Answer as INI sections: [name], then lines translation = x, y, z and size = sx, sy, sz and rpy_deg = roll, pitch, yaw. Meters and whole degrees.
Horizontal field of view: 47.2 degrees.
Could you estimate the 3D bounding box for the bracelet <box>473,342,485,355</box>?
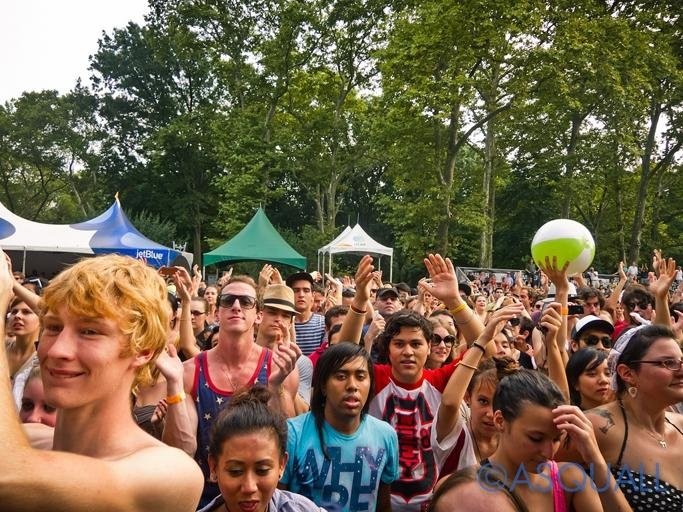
[bracelet]
translation = 2.108, 1.403, 11.987
size = 0.045, 0.198, 0.198
rpy_deg = -37, -4, 22
